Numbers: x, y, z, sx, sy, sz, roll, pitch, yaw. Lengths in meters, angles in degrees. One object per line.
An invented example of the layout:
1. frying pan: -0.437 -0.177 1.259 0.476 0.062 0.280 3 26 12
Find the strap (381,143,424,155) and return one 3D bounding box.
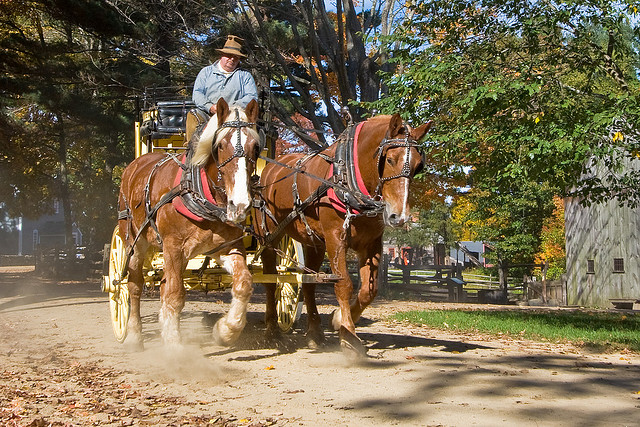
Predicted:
1. strap: 1.516 -1.192 12.757 0.784 0.199 0.272 1 6 -3

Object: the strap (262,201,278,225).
1. strap: -0.969 -0.011 13.648 0.133 0.443 0.152 -35 -14 -34

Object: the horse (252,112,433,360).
1. horse: 0.318 0.510 14.497 1.818 4.683 6.305 4 -4 -25

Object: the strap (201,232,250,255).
1. strap: -1.752 0.544 12.695 0.752 0.109 0.102 -29 -8 0

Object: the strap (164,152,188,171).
1. strap: -2.679 -1.011 13.192 0.160 0.058 1.048 -40 28 -6

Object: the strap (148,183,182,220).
1. strap: -2.833 -0.202 12.866 1.082 0.150 0.127 -41 -26 30

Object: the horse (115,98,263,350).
1. horse: -2.453 0.351 13.074 1.373 4.892 3.229 -5 9 -43

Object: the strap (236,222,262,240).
1. strap: -1.310 0.330 12.887 0.324 0.078 0.235 28 -7 -16
